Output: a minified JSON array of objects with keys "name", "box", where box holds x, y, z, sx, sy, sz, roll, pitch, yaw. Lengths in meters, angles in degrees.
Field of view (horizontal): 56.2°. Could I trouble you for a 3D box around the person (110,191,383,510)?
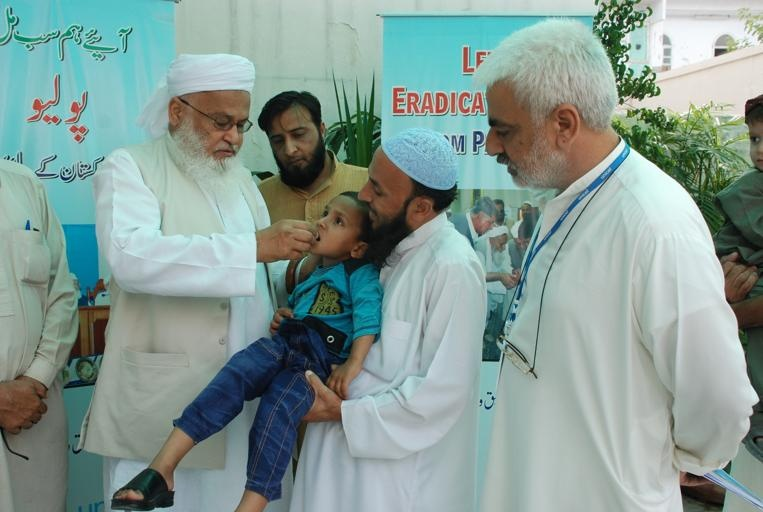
[{"name":"person","box":[-0.519,0.586,4.047,0.884,2.092,0.864,28,-19,9]}]
